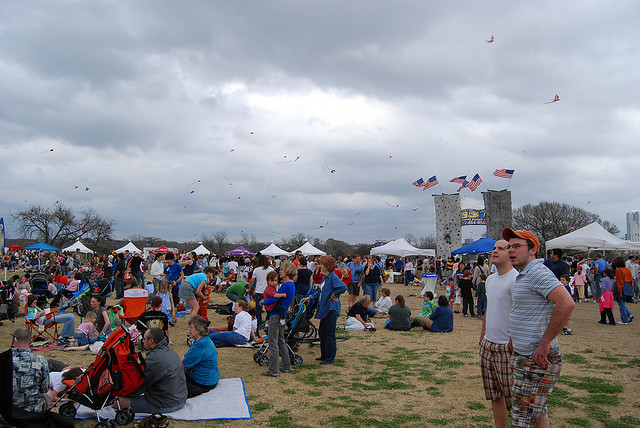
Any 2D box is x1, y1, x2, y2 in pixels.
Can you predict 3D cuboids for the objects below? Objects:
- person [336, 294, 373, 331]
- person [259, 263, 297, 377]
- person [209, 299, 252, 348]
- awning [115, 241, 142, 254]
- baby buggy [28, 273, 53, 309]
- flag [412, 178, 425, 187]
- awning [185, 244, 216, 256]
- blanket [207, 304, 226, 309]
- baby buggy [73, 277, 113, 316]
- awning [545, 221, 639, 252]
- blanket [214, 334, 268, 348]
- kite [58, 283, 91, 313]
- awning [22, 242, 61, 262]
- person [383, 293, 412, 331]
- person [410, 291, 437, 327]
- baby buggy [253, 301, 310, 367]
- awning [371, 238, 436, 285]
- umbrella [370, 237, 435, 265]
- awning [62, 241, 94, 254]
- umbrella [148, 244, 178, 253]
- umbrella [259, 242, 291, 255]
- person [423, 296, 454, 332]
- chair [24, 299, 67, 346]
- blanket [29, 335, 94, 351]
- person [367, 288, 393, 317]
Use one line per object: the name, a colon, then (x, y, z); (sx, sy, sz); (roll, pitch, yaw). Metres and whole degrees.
person: (1.227, 3.211, 15.811); (1.073, 1.084, 1.167); (3, -8, -30)
person: (-0.927, 2.353, 11.024); (0.551, 2.458, 0.757); (-2, -4, 29)
person: (-2.527, 2.937, 13.293); (1.548, 1.113, 0.697); (-4, 0, 6)
awning: (-16.135, 2.982, 41.611); (2.255, 1.105, 2.241); (1, -8, -6)
baby buggy: (-9.421, 2.608, 16.631); (0.522, 0.925, 0.894); (-6, 25, -34)
flag: (6.982, -2.166, 34.562); (0.653, 0.539, 1.418); (0, -4, 11)
awning: (-8.947, 2.825, 37.213); (1.782, 0.807, 1.786); (1, -10, 0)
blanket: (-3.867, 3.446, 18.220); (0.952, 0.168, 0.276); (-3, 3, 17)
baby buggy: (-7.457, 2.789, 16.377); (1.248, 1.178, 0.791); (-8, -5, -22)
awning: (16.689, 1.424, 31.378); (3.375, 1.318, 3.400); (1, -3, 6)
blanket: (-2.084, 3.457, 13.033); (1.179, 0.343, 0.685); (7, -7, -9)
kite: (-7.443, 2.486, 15.319); (1.220, 0.411, 0.814); (-28, -2, 40)
awning: (-22.271, 3.098, 39.416); (1.972, 0.801, 1.988); (-1, -9, 9)
person: (2.514, 3.206, 15.736); (0.850, 1.114, 1.118); (2, -15, 14)
person: (3.444, 3.096, 16.155); (0.794, 1.032, 0.713); (-2, -2, -20)
baby buggy: (-0.849, 2.883, 12.170); (1.376, 1.513, 1.136); (-2, -1, -10)
awning: (4.898, 3.003, 29.197); (4.260, 2.103, 4.170); (1, -2, -8)
umbrella: (5.178, 2.580, 31.422); (3.621, 1.648, 3.850); (-4, -8, 36)
awning: (-22.860, 3.198, 46.367); (1.986, 0.943, 1.967); (2, 0, -14)
umbrella: (-13.627, 3.041, 42.920); (2.289, 0.991, 2.318); (2, -5, 4)
umbrella: (-3.300, 2.741, 35.727); (1.701, 0.674, 1.711); (0, -10, 4)
person: (3.623, 3.093, 15.138); (0.877, 1.168, 0.972); (14, -9, -34)
chair: (-7.447, 2.893, 13.275); (0.977, 1.257, 0.862); (3, -6, -15)
blanket: (-6.770, 3.413, 12.713); (1.283, 0.256, 1.069); (0, -7, -9)
person: (2.044, 3.228, 17.606); (1.064, 1.127, 0.748); (4, -2, -6)
